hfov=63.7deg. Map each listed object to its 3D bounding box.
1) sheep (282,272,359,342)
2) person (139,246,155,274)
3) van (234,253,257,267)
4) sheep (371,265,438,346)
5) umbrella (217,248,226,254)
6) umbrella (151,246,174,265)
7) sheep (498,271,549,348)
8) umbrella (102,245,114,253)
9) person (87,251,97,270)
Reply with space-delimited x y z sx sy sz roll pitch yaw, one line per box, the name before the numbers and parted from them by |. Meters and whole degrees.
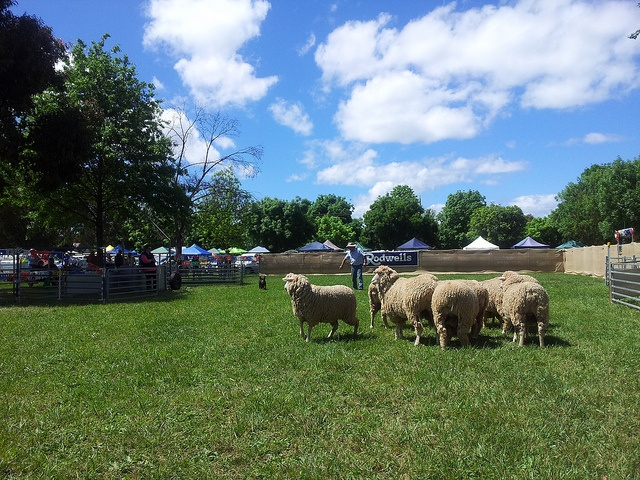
sheep | -0.001 1.612 12.157 1.869 1.637 0.888 2 2 -6
person | -7.229 0.747 21.408 0.619 1.040 1.702 -6 16 -20
van | -7.919 2.148 55.111 2.578 1.862 4.486 0 -8 -8
sheep | 1.937 1.482 12.110 0.835 1.703 2.185 2 -3 -29
umbrella | -10.953 1.263 56.942 0.808 0.510 1.359 1 -6 -19
umbrella | -11.235 1.080 36.539 1.039 0.991 1.062 6 7 44
sheep | 4.515 1.578 11.366 0.812 1.286 1.695 1 15 9
umbrella | -15.495 0.611 37.520 0.603 0.292 0.637 1 -5 -12
person | -9.791 0.889 21.995 0.355 0.665 1.681 -7 16 -24
